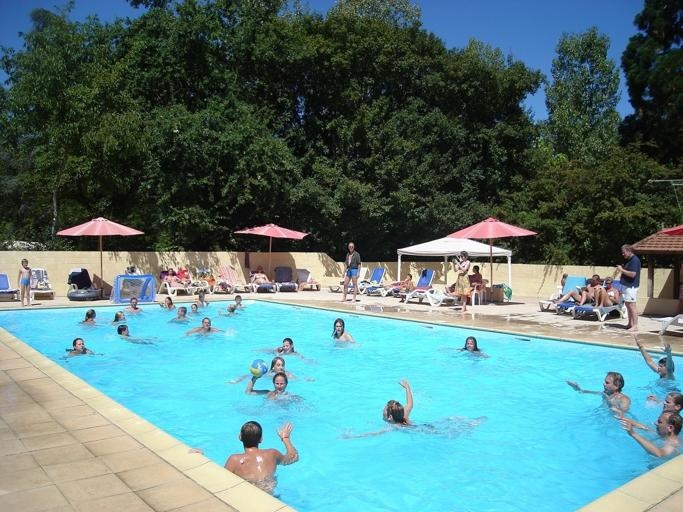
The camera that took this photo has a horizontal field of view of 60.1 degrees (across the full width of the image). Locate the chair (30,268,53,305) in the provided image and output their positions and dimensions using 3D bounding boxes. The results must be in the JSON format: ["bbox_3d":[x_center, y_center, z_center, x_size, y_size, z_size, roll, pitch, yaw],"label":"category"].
[{"bbox_3d":[-10.072,0.964,19.776,0.723,1.047,1.086,1,-1,-32],"label":"chair"}]

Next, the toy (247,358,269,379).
[{"bbox_3d":[-1.489,2.007,10.615,0.319,0.344,0.324,27,-39,-24],"label":"toy"}]

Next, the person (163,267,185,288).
[{"bbox_3d":[-6.241,0.841,21.750,0.661,0.324,0.870,-2,6,-33],"label":"person"}]

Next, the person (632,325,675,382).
[{"bbox_3d":[6.295,2.032,12.011,0.259,1.286,0.674,-6,-3,-23],"label":"person"}]

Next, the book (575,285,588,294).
[{"bbox_3d":[6.907,0.979,17.112,0.226,0.129,0.331,-6,-10,-17],"label":"book"}]

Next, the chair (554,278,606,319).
[{"bbox_3d":[6.883,1.181,16.868,1.535,1.077,0.846,-6,2,-37],"label":"chair"}]

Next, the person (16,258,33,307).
[{"bbox_3d":[-9.706,0.800,18.073,0.321,1.576,1.537,-6,11,-29],"label":"person"}]

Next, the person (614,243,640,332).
[{"bbox_3d":[6.828,0.765,14.137,0.478,2.111,0.855,4,10,27],"label":"person"}]

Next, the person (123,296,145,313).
[{"bbox_3d":[-6.292,1.377,17.828,0.675,0.652,0.404,1,-9,-21],"label":"person"}]

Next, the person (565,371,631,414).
[{"bbox_3d":[4.643,2.304,10.434,0.418,0.659,1.172,-3,10,-11],"label":"person"}]

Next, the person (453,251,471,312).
[{"bbox_3d":[3.629,0.757,18.017,0.492,1.742,0.544,-3,5,-7],"label":"person"}]

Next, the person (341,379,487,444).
[{"bbox_3d":[1.337,2.746,9.739,1.609,0.674,1.178,-2,0,11],"label":"person"}]

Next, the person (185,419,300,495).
[{"bbox_3d":[-1.084,2.675,8.050,0.555,0.939,1.114,4,10,26],"label":"person"}]

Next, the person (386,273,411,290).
[{"bbox_3d":[2.194,1.003,22.823,1.013,0.633,0.538,0,-1,18],"label":"person"}]

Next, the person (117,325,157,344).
[{"bbox_3d":[-5.055,1.930,14.544,1.072,0.383,0.572,8,13,42],"label":"person"}]

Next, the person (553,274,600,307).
[{"bbox_3d":[7.053,0.994,16.910,1.328,0.920,0.692,10,-6,-34],"label":"person"}]

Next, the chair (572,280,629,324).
[{"bbox_3d":[7.063,1.313,16.202,1.566,1.123,0.854,0,-2,-36],"label":"chair"}]

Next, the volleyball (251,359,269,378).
[{"bbox_3d":[-1.486,2.051,10.590,0.267,0.402,0.366,-2,9,-6],"label":"volleyball"}]
